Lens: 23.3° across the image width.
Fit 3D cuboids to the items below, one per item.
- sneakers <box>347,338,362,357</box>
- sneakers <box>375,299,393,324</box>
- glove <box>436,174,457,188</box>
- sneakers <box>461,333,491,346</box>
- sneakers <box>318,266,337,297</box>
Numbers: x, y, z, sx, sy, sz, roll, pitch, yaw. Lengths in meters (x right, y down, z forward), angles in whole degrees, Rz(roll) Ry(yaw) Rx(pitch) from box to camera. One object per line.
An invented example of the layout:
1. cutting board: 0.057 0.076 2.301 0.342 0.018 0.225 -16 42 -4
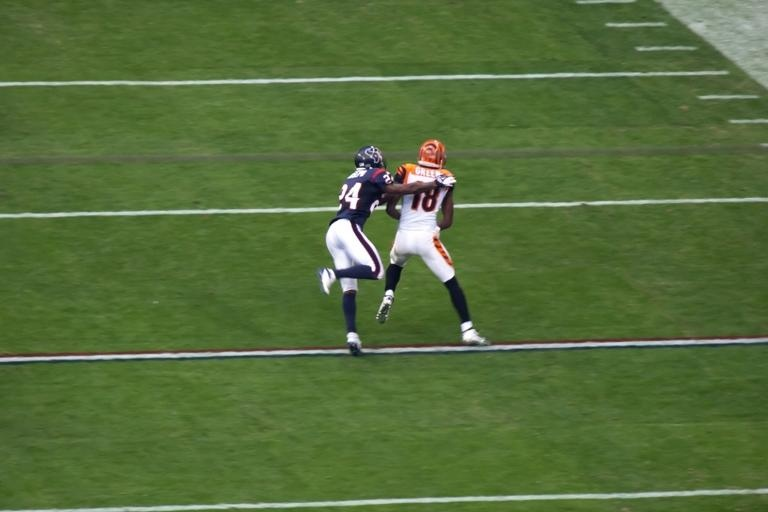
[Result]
1. sneakers: -0.371 1.230 25.000 0.136 0.309 0.115 -2 74 5
2. sneakers: 0.011 0.753 25.409 0.185 0.355 0.190 26 22 4
3. glove: 0.826 -0.989 24.884 0.235 0.262 0.217 3 46 1
4. sneakers: 1.218 1.153 25.240 0.483 0.156 0.101 0 73 -8
5. sneakers: -0.748 0.348 24.970 0.279 0.147 0.387 -2 45 -14
